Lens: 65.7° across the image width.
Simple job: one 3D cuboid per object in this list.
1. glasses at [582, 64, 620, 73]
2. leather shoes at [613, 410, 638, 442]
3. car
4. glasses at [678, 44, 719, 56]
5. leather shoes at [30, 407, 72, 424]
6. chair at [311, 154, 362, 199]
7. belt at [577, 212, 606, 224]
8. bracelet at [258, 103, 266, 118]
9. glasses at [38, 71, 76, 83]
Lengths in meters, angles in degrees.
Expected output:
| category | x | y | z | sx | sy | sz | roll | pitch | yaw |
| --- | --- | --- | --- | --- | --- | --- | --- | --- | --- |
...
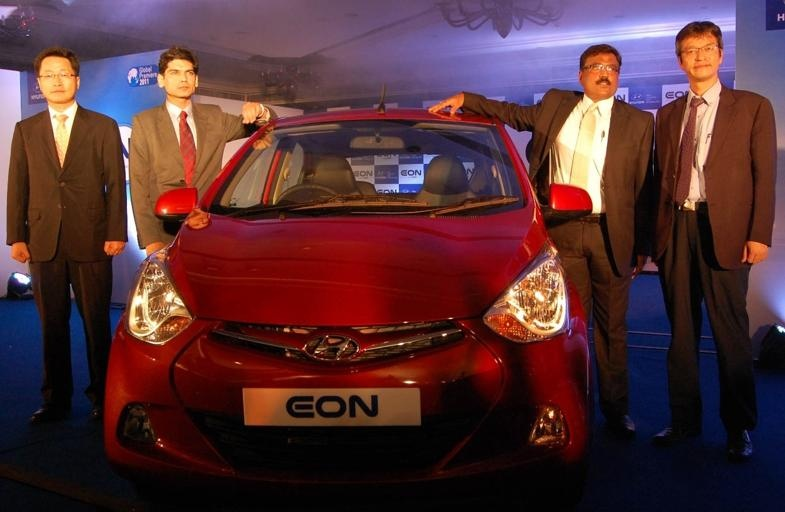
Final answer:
| category | x | y | z | sx | sy | sz | roll | pitch | yaw |
| --- | --- | --- | --- | --- | --- | --- | --- | --- | --- |
| glasses | 1.218 | -1.093 | 3.547 | 0.208 | 0.048 | 0.076 | 2 | 14 | 8 |
| leather shoes | 1.352 | 1.007 | 3.533 | 0.083 | 0.091 | 0.148 | 1 | -6 | 2 |
| car | -0.060 | 0.081 | 3.190 | 1.354 | 1.035 | 2.222 | -1 | 3 | 6 |
| glasses | 1.675 | -1.128 | 3.336 | 0.195 | 0.051 | 0.057 | 8 | 15 | 28 |
| leather shoes | -2.089 | 0.984 | 3.702 | 0.245 | 0.099 | 0.089 | 9 | 5 | -23 |
| chair | -0.315 | -0.439 | 3.405 | 0.191 | 0.252 | 0.246 | 0 | 3 | 2 |
| belt | 1.139 | -0.210 | 3.496 | 0.158 | 0.062 | 0.121 | 1 | 10 | 6 |
| bracelet | -0.832 | -0.932 | 3.881 | 0.055 | 0.072 | 0.064 | -7 | -21 | 2 |
| glasses | -2.015 | -1.073 | 3.645 | 0.196 | 0.043 | 0.055 | -3 | 14 | -14 |
